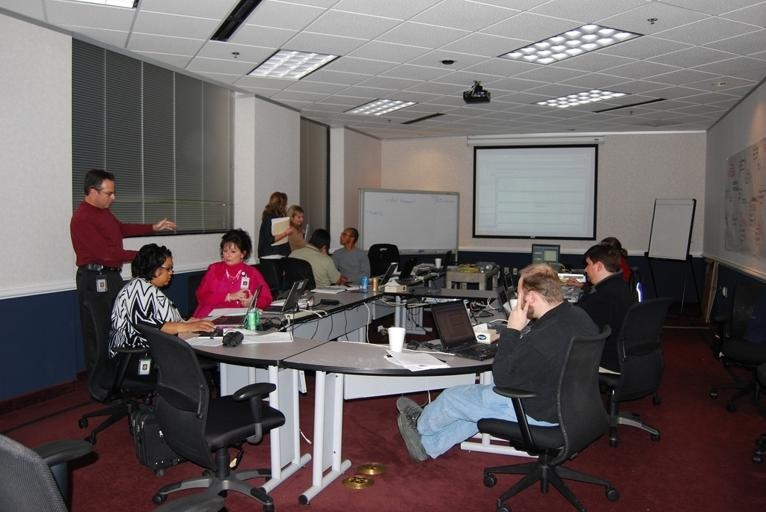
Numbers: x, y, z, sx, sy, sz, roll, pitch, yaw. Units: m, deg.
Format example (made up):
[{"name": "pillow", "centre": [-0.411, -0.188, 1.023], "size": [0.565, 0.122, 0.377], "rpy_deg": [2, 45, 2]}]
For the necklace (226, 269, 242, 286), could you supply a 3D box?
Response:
[{"name": "necklace", "centre": [-1.441, 0.205, 4.913], "size": [0.113, 0.142, 0.058], "rpy_deg": [-1, -11, -4]}]

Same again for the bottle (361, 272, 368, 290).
[{"name": "bottle", "centre": [-0.218, 0.307, 6.179], "size": [0.141, 0.166, 0.394], "rpy_deg": [0, -9, 0]}]

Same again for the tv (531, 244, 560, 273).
[{"name": "tv", "centre": [2.076, 0.017, 6.466], "size": [0.438, 0.380, 0.356], "rpy_deg": [0, -1, 28]}]

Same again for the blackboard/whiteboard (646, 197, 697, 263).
[{"name": "blackboard/whiteboard", "centre": [5.452, -0.493, 9.605], "size": [0.426, 1.178, 0.893], "rpy_deg": [-1, 6, -7]}]

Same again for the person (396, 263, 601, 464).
[{"name": "person", "centre": [0.801, 0.887, 3.688], "size": [1.283, 1.667, 0.564], "rpy_deg": [5, 8, 39]}]

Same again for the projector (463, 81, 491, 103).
[{"name": "projector", "centre": [1.298, -2.219, 6.958], "size": [0.309, 0.298, 0.703], "rpy_deg": [2, 6, 12]}]

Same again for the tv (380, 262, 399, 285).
[{"name": "tv", "centre": [0.007, 0.200, 6.257], "size": [0.235, 0.205, 0.321], "rpy_deg": [28, 14, 22]}]

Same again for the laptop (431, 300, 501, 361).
[{"name": "laptop", "centre": [0.623, 0.569, 3.910], "size": [0.423, 0.327, 0.492], "rpy_deg": [2, 1, 39]}]

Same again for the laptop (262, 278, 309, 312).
[{"name": "laptop", "centre": [-0.876, 0.344, 4.617], "size": [0.310, 0.245, 0.389], "rpy_deg": [7, 6, 15]}]

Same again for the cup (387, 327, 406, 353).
[{"name": "cup", "centre": [0.075, 0.639, 3.892], "size": [0.181, 0.175, 0.164], "rpy_deg": [1, -5, -3]}]

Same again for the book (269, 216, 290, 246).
[{"name": "book", "centre": [-1.346, -0.344, 6.601], "size": [0.145, 0.335, 0.384], "rpy_deg": [21, 22, 31]}]
